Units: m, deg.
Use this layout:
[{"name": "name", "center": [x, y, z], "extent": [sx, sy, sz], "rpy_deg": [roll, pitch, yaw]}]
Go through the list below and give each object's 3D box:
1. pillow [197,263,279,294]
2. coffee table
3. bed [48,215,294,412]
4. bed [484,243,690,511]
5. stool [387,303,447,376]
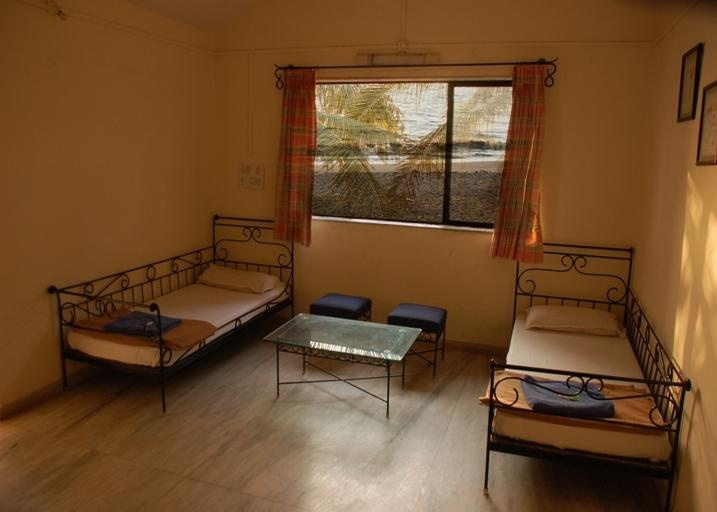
[{"name": "pillow", "center": [-1.298, 0.231, 5.604], "extent": [0.649, 0.149, 0.287], "rpy_deg": [6, 35, 20]}, {"name": "coffee table", "center": [-0.110, 0.921, 4.802], "extent": [1.293, 0.599, 0.994], "rpy_deg": [5, 12, 12]}, {"name": "bed", "center": [-1.644, 0.366, 5.255], "extent": [1.218, 1.295, 2.177], "rpy_deg": [5, 12, 21]}, {"name": "bed", "center": [1.828, 0.735, 4.352], "extent": [1.122, 1.201, 2.259], "rpy_deg": [2, 14, 19]}, {"name": "stool", "center": [0.585, 0.758, 5.263], "extent": [0.591, 0.693, 0.638], "rpy_deg": [4, 7, 19]}]
